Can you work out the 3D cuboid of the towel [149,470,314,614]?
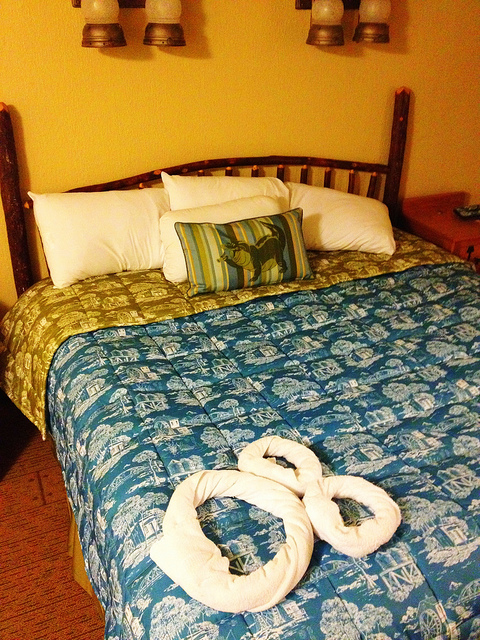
[{"bbox_3d":[-0.002,0.420,0.955,0.287,0.096,0.341,3,11,-2],"label":"towel"}]

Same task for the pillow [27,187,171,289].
[{"bbox_3d":[-0.611,-0.400,2.327,0.709,0.422,0.239,-15,12,-32],"label":"pillow"}]

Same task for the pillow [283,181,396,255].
[{"bbox_3d":[0.654,-0.631,2.784,0.423,0.162,0.573,19,30,4],"label":"pillow"}]

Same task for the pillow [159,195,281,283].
[{"bbox_3d":[-0.119,-0.356,2.159,0.638,0.371,0.180,-8,0,-24],"label":"pillow"}]

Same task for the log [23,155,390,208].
[{"bbox_3d":[-0.188,-0.779,2.679,1.937,0.172,0.049,-6,-6,2],"label":"log"}]

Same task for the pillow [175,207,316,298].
[{"bbox_3d":[0.044,-0.291,2.180,0.596,0.321,0.146,-10,7,-17],"label":"pillow"}]
